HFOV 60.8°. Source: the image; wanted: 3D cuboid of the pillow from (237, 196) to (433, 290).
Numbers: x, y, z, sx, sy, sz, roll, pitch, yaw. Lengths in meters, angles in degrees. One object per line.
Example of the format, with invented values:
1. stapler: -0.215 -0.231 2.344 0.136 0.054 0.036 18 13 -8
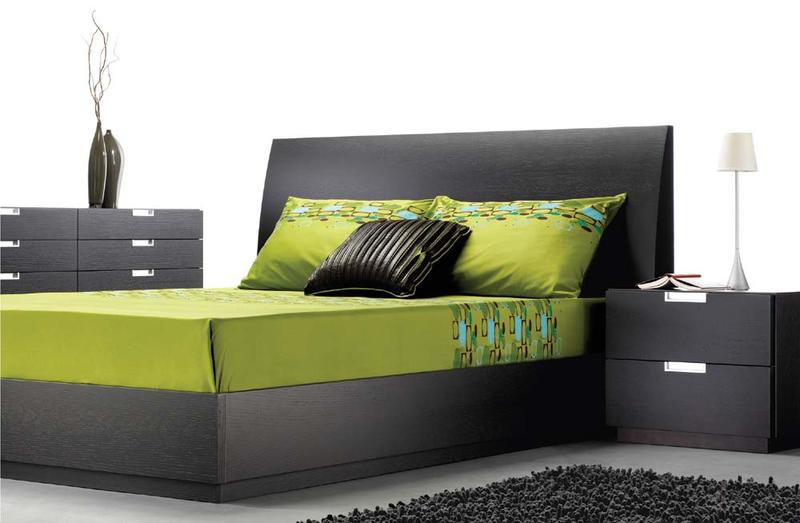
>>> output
1. pillow: -0.566 0.041 4.217 1.040 0.196 1.017 -11 -21 28

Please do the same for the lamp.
1. lamp: 1.746 -0.276 3.525 0.181 0.863 0.711 -1 -4 28
